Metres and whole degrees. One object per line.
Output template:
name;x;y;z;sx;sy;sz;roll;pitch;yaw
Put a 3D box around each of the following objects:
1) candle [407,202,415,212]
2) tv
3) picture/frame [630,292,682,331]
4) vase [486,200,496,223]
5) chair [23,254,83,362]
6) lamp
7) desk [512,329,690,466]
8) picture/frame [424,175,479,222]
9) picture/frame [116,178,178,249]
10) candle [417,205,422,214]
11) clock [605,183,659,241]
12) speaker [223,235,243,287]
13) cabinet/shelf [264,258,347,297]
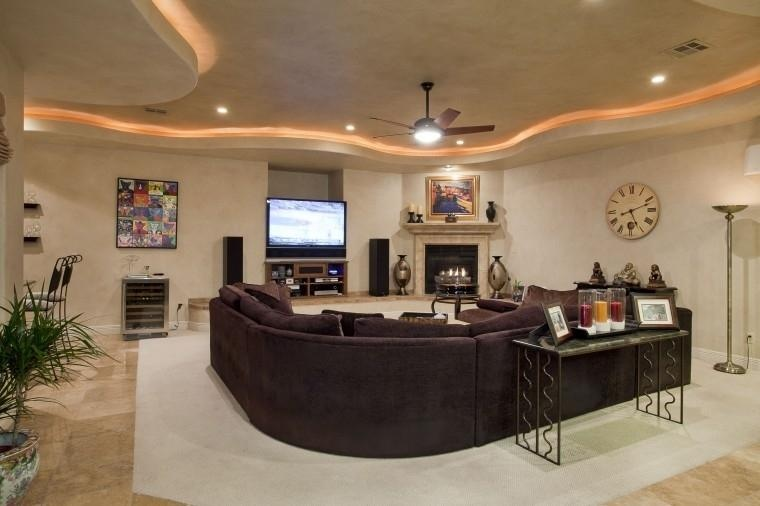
candle;0.608;-0.866;9.729;0.146;0.175;0.142;1;-3;-5
tv;-1.303;-0.422;9.124;1.467;1.063;0.171;2;-3;-23
picture/frame;2.688;0.582;5.029;0.459;0.415;0.037;2;-22;-2
vase;2.060;-0.758;9.506;0.205;0.412;0.217;1;-3;9
chair;-4.302;0.508;6.618;0.762;0.975;0.568;1;17;-25
lamp;4.336;0.443;6.374;0.472;2.073;0.457;-1;4;20
desk;2.134;1.248;4.948;1.844;0.973;0.643;0;-1;-31
picture/frame;1.391;-1.052;9.691;0.975;0.730;0.067;0;1;1
picture/frame;-3.703;-0.634;8.179;0.861;1.071;0.220;2;-3;-14
candle;0.780;-0.820;9.710;0.120;0.172;0.116;1;-3;17
clock;3.693;-0.608;7.495;0.082;0.818;0.776;3;-4;-33
speaker;-2.426;0.102;8.481;0.300;0.800;0.343;2;-3;-22
cabinet/shelf;-1.307;0.440;9.281;1.414;0.600;0.366;1;8;-19
